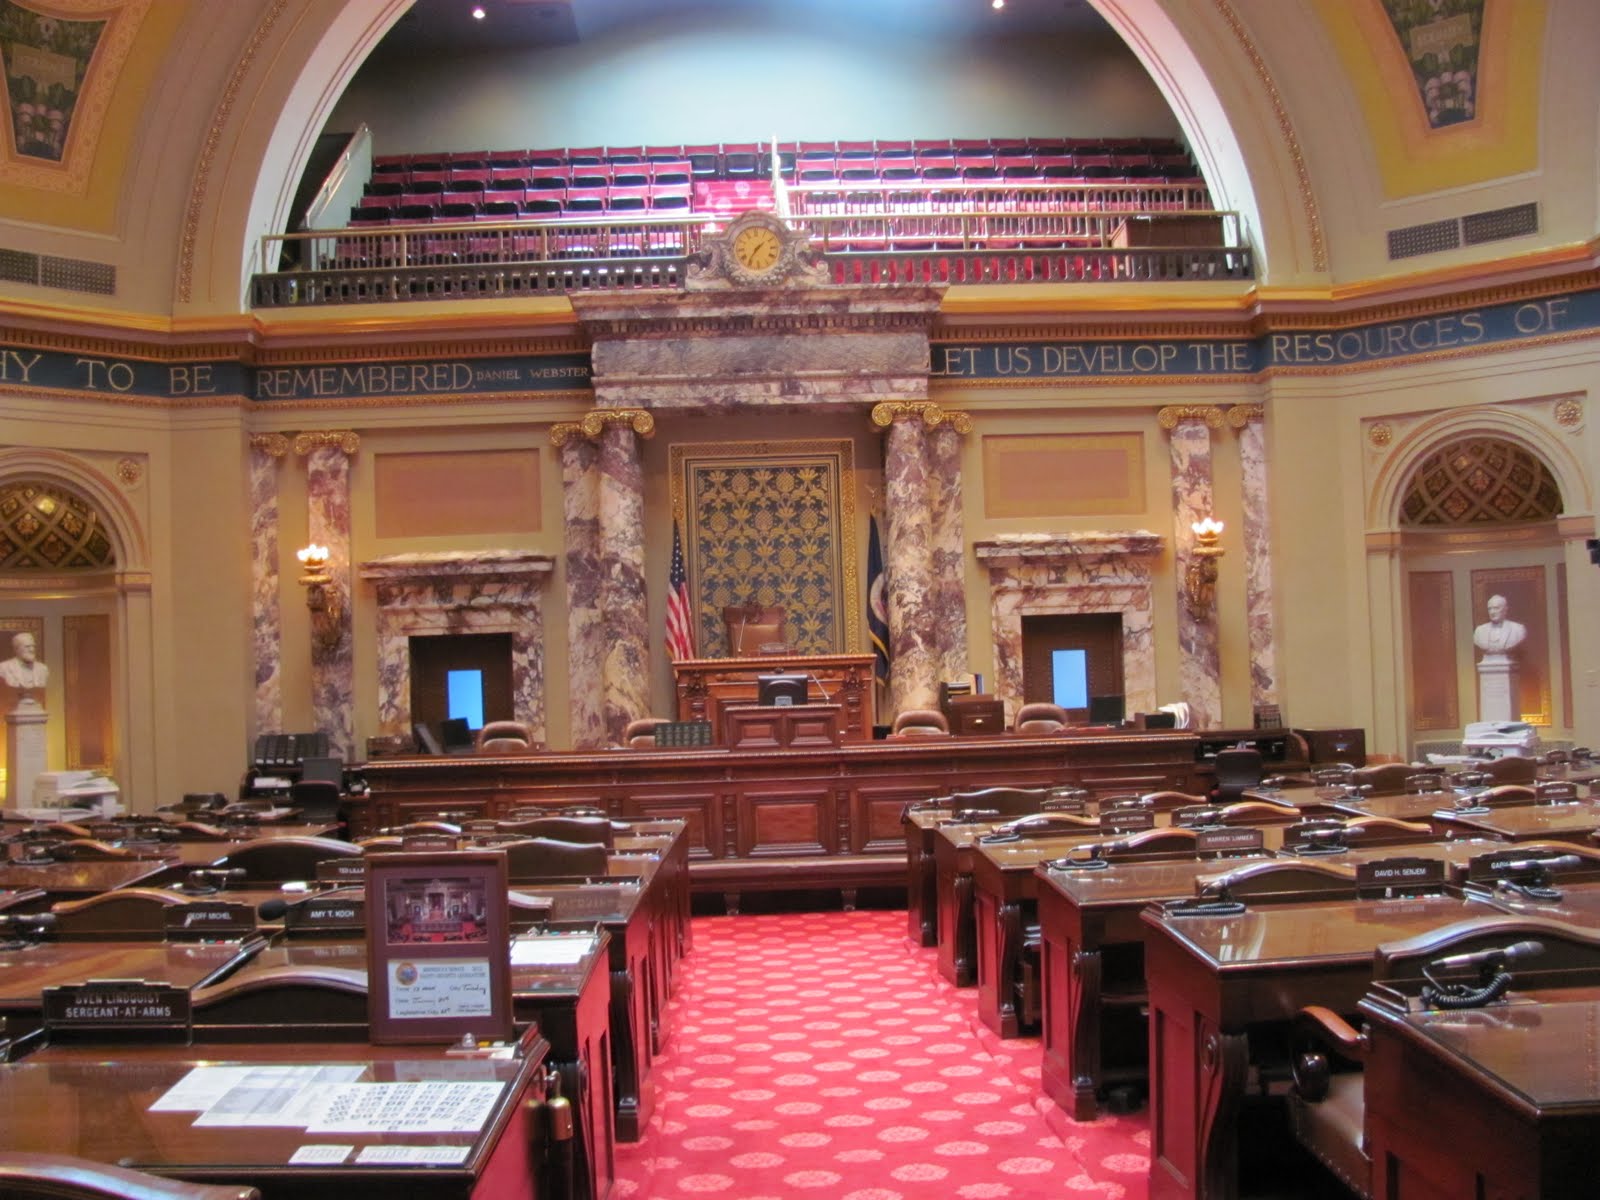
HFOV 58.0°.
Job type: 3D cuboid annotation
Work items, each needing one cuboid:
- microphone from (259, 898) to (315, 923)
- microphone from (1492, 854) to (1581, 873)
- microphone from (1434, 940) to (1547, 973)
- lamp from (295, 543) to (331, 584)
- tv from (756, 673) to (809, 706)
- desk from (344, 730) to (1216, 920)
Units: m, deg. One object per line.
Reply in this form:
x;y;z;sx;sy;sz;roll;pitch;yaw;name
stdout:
-2.303;1.368;6.411;0.185;0.090;0.247;1;-4;-2;microphone
3.297;1.183;6.491;0.415;0.060;0.060;-3;-30;-12;microphone
2.556;1.323;5.388;0.461;0.083;0.106;-5;-7;-16;microphone
-5.043;-0.367;15.012;0.398;0.458;0.404;-2;-8;2;lamp
-0.138;0.750;11.881;0.387;0.191;0.307;-5;14;-5;tv
-0.164;2.159;11.977;7.112;1.443;1.303;-3;-39;5;desk
